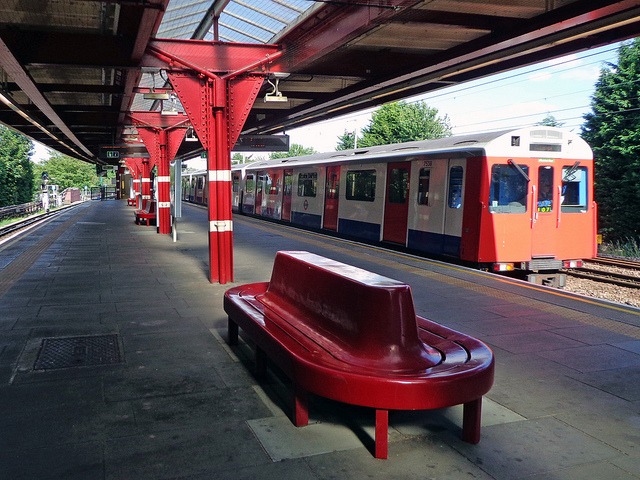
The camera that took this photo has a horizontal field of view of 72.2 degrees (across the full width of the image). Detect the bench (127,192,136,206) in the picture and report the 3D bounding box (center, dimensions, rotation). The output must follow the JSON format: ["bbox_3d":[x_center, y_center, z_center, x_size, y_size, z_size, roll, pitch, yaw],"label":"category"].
[{"bbox_3d":[-17.522,-3.482,40.490,0.632,0.443,5.526,-3,8,-23],"label":"bench"}]
